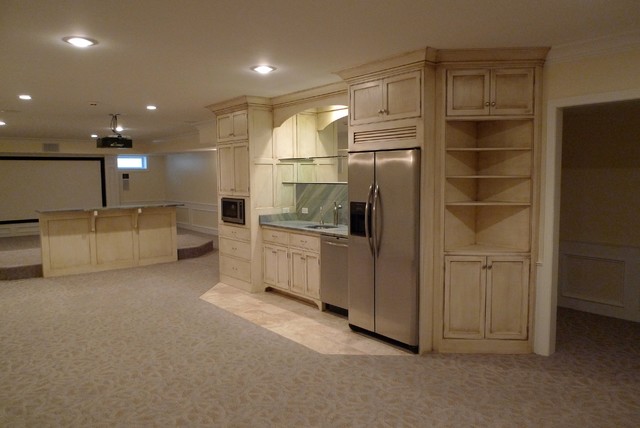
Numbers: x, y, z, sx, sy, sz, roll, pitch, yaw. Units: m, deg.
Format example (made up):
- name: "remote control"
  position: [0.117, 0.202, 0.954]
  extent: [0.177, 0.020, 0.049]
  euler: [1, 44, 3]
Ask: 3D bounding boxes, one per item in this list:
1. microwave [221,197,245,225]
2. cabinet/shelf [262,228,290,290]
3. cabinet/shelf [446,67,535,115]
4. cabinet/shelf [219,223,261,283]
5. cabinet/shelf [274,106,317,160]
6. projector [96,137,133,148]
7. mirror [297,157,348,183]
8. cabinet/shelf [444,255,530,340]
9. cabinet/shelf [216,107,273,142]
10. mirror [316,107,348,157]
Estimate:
- name: "microwave"
  position: [-1.555, -0.049, 8.060]
  extent: [0.432, 0.531, 0.731]
  euler: [1, 1, -35]
- name: "cabinet/shelf"
  position: [-0.762, 0.757, 7.631]
  extent: [0.203, 0.942, 0.777]
  euler: [-11, 17, -34]
- name: "cabinet/shelf"
  position: [2.238, -1.571, 5.728]
  extent: [0.433, 0.590, 1.198]
  euler: [-21, 24, -36]
- name: "cabinet/shelf"
  position: [-1.402, 0.697, 8.038]
  extent: [0.517, 0.977, 1.026]
  euler: [-3, 6, -39]
- name: "cabinet/shelf"
  position: [-0.362, -1.382, 8.044]
  extent: [0.845, 0.791, 0.280]
  euler: [4, 9, 21]
- name: "projector"
  position: [-4.211, -1.445, 9.264]
  extent: [0.405, 0.163, 0.420]
  euler: [0, 5, -13]
- name: "mirror"
  position: [0.005, -0.723, 7.557]
  extent: [1.110, 0.485, 0.119]
  euler: [11, 18, 40]
- name: "cabinet/shelf"
  position: [2.147, 1.034, 5.700]
  extent: [1.083, 1.026, 0.422]
  euler: [1, -2, 11]
- name: "cabinet/shelf"
  position: [-1.403, -1.541, 8.170]
  extent: [0.470, 0.613, 1.239]
  euler: [-4, 6, -37]
- name: "mirror"
  position: [0.167, -1.348, 7.520]
  extent: [0.281, 0.786, 0.856]
  euler: [-10, 16, -32]
